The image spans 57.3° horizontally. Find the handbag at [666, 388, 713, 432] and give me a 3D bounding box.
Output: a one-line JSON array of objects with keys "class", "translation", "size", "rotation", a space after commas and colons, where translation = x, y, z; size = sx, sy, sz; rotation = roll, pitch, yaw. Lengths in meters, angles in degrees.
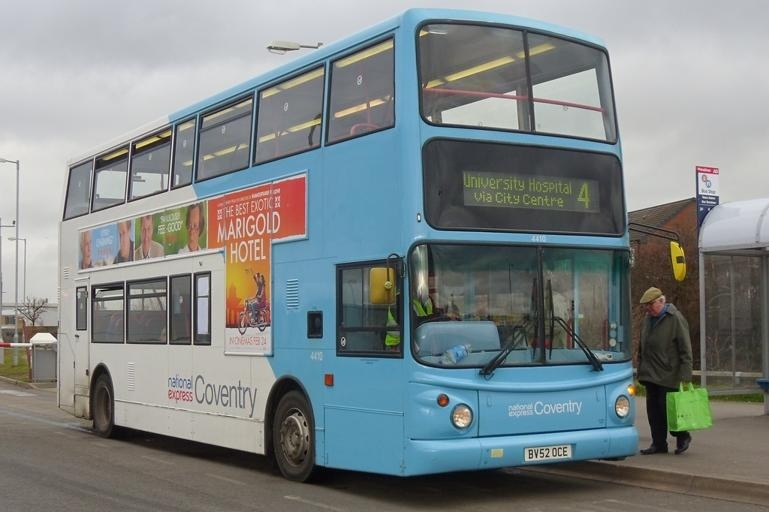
[{"class": "handbag", "translation": [4.887, 2.362, 11.325], "size": [0.586, 0.865, 0.298], "rotation": [-9, 1, 7]}]

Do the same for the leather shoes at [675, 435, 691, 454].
[{"class": "leather shoes", "translation": [5.023, 3.119, 11.803], "size": [0.150, 0.242, 0.481], "rotation": [-28, -3, 36]}]

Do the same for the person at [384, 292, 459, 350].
[{"class": "person", "translation": [0.471, 0.863, 9.421], "size": [1.025, 0.758, 0.357], "rotation": [-3, -7, 7]}]
